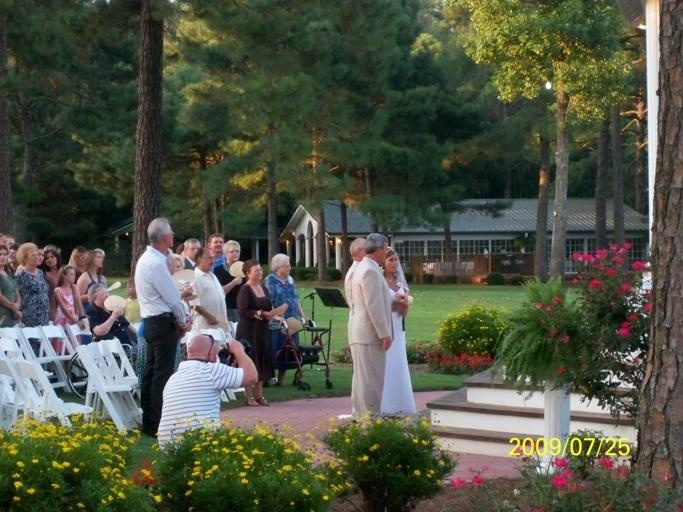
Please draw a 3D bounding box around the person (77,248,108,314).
[{"bbox_3d":[-6.907,1.181,45.719,0.764,2.613,1.022,3,5,26],"label":"person"}]

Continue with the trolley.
[{"bbox_3d":[-1.289,2.739,45.858,1.337,2.257,1.383,2,0,42],"label":"trolley"}]

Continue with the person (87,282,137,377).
[{"bbox_3d":[-6.097,1.944,44.376,1.092,2.766,1.009,6,3,37],"label":"person"}]

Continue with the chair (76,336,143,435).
[{"bbox_3d":[-6.058,3.423,42.791,1.406,2.444,1.513,1,3,-33],"label":"chair"}]

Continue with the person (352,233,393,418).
[{"bbox_3d":[0.726,1.813,42.523,0.886,4.643,1.188,0,2,-12],"label":"person"}]

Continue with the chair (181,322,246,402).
[{"bbox_3d":[-3.384,2.961,43.964,1.702,2.503,1.811,0,-1,-33],"label":"chair"}]

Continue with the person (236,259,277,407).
[{"bbox_3d":[-2.361,2.098,44.502,1.093,3.830,0.993,9,3,-15],"label":"person"}]

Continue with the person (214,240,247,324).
[{"bbox_3d":[-3.045,0.728,45.494,0.621,2.408,0.748,0,2,-43],"label":"person"}]

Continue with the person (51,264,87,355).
[{"bbox_3d":[-7.440,1.565,45.173,0.699,2.663,0.827,-2,1,-33],"label":"person"}]

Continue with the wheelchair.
[{"bbox_3d":[-6.344,3.107,43.831,1.475,1.935,1.517,3,2,-36],"label":"wheelchair"}]
